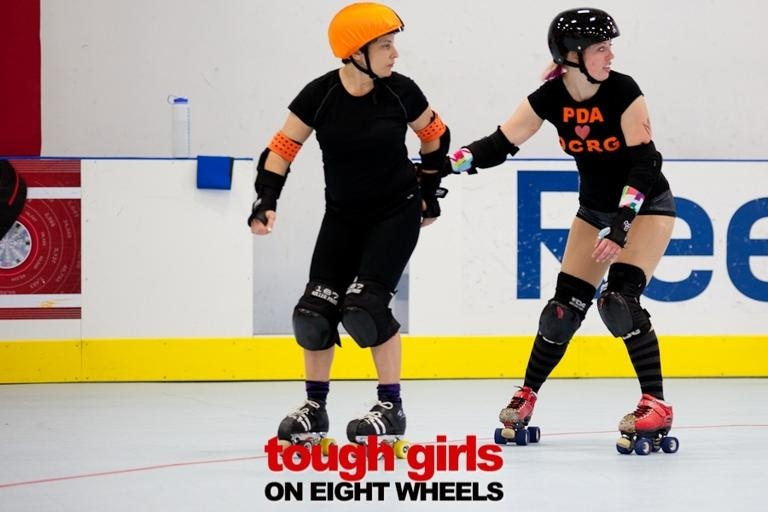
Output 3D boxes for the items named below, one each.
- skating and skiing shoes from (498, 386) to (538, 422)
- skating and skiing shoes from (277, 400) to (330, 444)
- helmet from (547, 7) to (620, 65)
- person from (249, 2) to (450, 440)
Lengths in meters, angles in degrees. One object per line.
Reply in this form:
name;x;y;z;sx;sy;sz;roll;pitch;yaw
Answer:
skating and skiing shoes;0.865;0.936;5.530;0.131;0.190;0.388;5;12;31
skating and skiing shoes;-0.470;0.977;5.124;0.388;0.247;0.145;4;0;-43
helmet;1.186;-1.325;5.267;0.401;0.337;0.207;1;6;12
person;-0.145;-0.241;5.483;1.103;2.795;1.045;-1;4;-42
